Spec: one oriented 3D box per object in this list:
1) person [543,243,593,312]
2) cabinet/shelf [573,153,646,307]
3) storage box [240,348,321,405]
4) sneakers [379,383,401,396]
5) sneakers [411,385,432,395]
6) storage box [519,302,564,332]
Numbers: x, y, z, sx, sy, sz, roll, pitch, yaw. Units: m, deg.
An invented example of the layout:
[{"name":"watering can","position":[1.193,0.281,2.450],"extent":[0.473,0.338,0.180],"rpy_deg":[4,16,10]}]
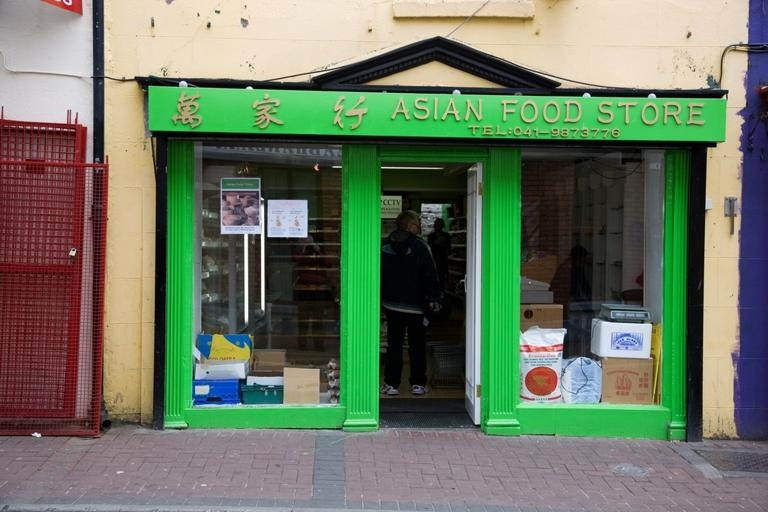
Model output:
[{"name":"person","position":[2.504,0.279,11.781],"extent":[0.636,0.831,0.212],"rpy_deg":[3,2,-5]},{"name":"cabinet/shelf","position":[2.927,-0.337,11.694],"extent":[0.874,1.908,0.333],"rpy_deg":[-1,1,10]},{"name":"storage box","position":[-1.302,1.572,11.651],"extent":[0.739,0.420,0.706],"rpy_deg":[1,1,-2]},{"name":"sneakers","position":[0.086,1.860,12.430],"extent":[0.283,0.121,0.116],"rpy_deg":[7,8,37]},{"name":"sneakers","position":[0.492,1.883,12.506],"extent":[0.098,0.118,0.272],"rpy_deg":[-2,-13,23]},{"name":"storage box","position":[2.042,0.785,11.649],"extent":[0.657,0.383,0.337],"rpy_deg":[1,-6,-9]}]
